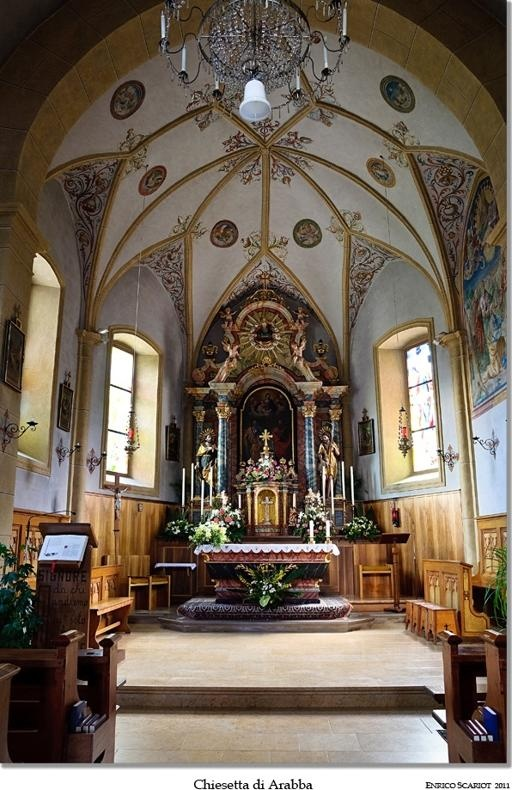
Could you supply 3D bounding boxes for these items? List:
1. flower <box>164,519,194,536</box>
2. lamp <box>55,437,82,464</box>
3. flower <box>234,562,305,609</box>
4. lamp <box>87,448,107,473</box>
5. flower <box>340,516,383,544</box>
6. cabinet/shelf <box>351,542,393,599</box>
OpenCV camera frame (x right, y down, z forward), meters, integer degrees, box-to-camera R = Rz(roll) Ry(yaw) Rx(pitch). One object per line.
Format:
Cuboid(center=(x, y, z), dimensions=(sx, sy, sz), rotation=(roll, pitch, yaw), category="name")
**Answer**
Cuboid(center=(-1.464, 2.552, 9.714), dimensions=(0.427, 0.312, 0.465), rotation=(3, -7, -6), category="flower")
Cuboid(center=(-2.735, 0.844, 7.429), dimensions=(0.234, 0.365, 0.177), rotation=(-2, -1, 13), category="lamp")
Cuboid(center=(0.168, 2.762, 7.339), dimensions=(0.883, 0.602, 0.504), rotation=(-1, -14, -1), category="flower")
Cuboid(center=(-2.676, 1.116, 8.439), dimensions=(0.277, 0.577, 0.309), rotation=(-5, -7, 19), category="lamp")
Cuboid(center=(1.936, 2.484, 9.289), dimensions=(0.480, 0.383, 0.509), rotation=(-2, -3, 23), category="flower")
Cuboid(center=(2.040, 3.053, 8.833), dimensions=(0.516, 0.980, 0.510), rotation=(0, -22, 5), category="cabinet/shelf")
